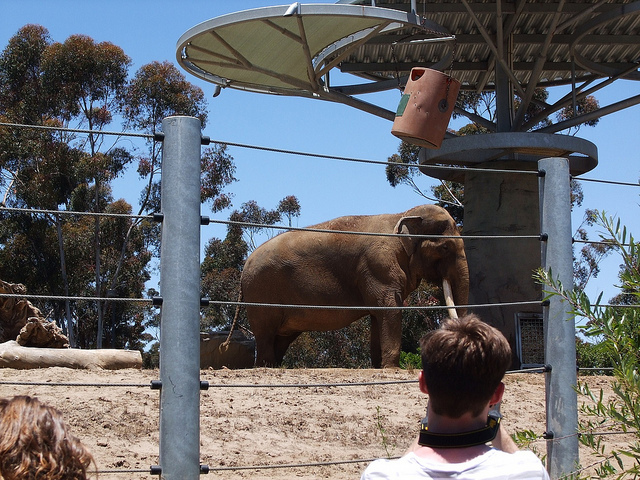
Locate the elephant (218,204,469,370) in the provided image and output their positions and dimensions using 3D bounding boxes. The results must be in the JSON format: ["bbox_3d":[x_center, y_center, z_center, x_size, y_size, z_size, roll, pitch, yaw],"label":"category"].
[{"bbox_3d":[0.531,0.862,16.451,4.293,2.971,1.371,0,-4,36],"label":"elephant"}]

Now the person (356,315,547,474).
[{"bbox_3d":[1.089,1.119,7.255,0.910,0.983,1.288,0,0,4],"label":"person"}]
